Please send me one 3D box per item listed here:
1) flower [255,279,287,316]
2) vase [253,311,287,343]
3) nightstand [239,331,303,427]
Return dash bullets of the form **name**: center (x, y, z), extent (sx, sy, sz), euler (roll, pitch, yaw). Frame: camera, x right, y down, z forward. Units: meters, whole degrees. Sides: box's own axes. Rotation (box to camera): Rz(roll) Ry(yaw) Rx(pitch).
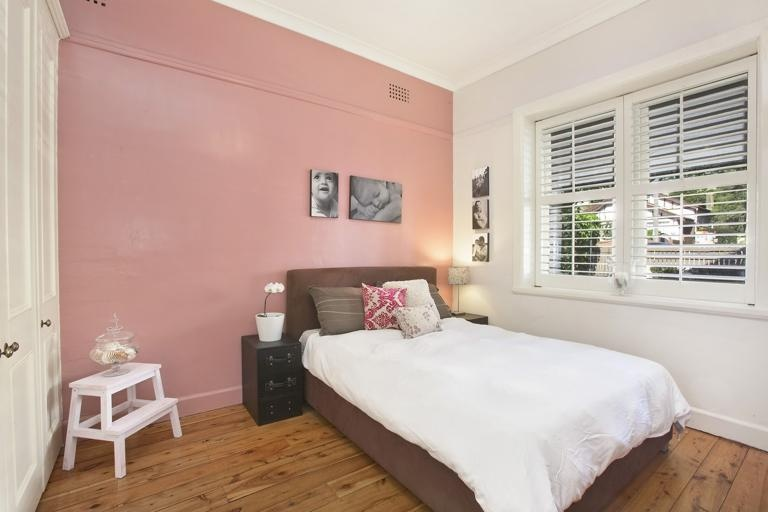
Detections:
- **flower**: center (-1.101, 0.414, 4.815), extent (0.304, 0.446, 0.261), euler (-1, -3, 21)
- **vase**: center (-1.106, 0.701, 4.722), extent (0.269, 0.201, 0.247), euler (-5, -6, 36)
- **nightstand**: center (-1.019, 1.159, 4.523), extent (0.497, 0.809, 0.767), euler (1, -5, -35)
